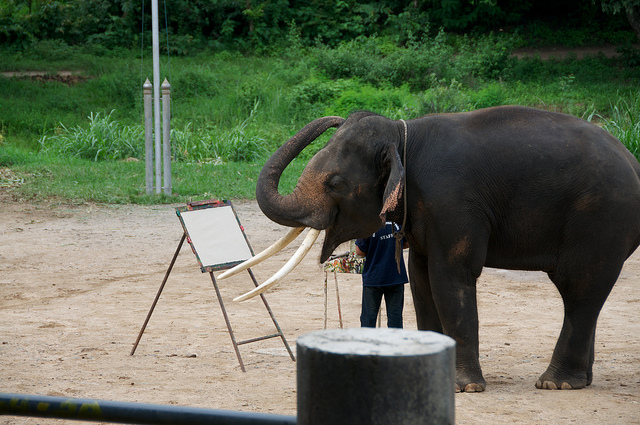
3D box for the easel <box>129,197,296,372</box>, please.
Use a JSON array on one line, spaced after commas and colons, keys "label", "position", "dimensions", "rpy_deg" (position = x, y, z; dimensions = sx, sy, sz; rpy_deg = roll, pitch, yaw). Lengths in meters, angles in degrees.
[{"label": "easel", "position": [-1.990, 1.128, 19.346], "dimensions": [2.583, 2.727, 1.779], "rpy_deg": [14, 15, 36]}]
